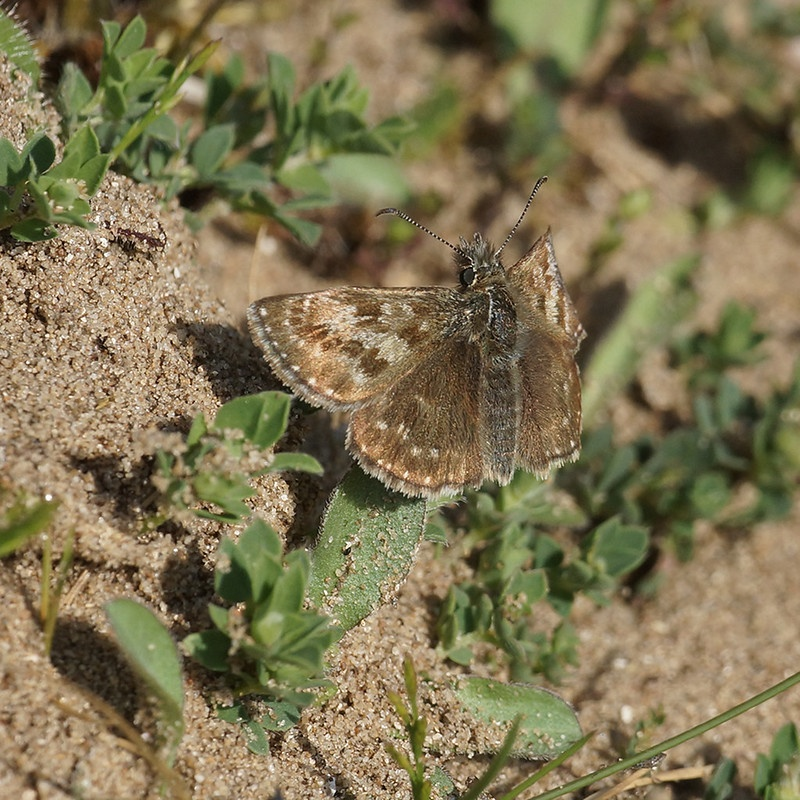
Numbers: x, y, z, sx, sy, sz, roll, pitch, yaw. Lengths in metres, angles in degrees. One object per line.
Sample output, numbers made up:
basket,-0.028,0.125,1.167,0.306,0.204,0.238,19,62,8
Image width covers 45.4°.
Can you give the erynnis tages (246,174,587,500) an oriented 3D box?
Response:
erynnis tages,0.188,-0.084,2.474,0.654,0.379,0.991,43,46,20
